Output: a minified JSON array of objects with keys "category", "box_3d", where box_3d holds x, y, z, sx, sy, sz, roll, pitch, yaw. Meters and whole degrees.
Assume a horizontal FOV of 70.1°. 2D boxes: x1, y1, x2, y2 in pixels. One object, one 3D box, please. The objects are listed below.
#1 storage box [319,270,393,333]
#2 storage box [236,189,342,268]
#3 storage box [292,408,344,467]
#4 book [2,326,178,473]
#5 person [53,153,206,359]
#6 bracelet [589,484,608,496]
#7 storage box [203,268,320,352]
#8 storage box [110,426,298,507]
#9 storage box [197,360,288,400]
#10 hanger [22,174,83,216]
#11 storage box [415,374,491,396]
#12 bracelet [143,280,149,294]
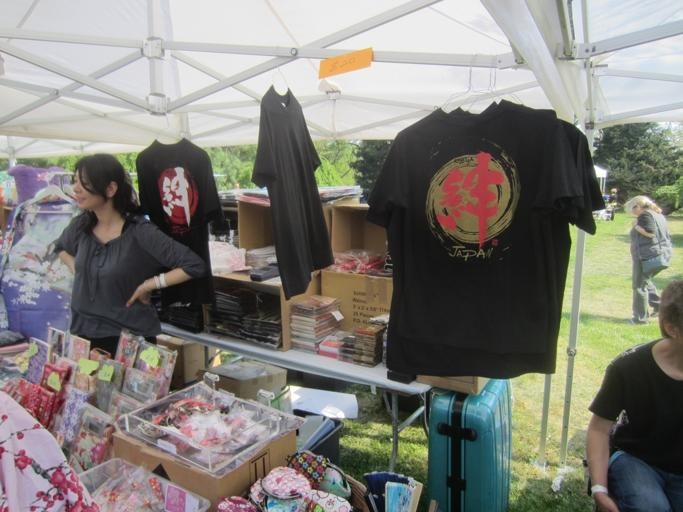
[{"category":"storage box","box_3d":[0.145,0.269,3.853,0.709,0.536,0.396,4,6,23]},{"category":"storage box","box_3d":[-0.463,-0.280,4.180,0.571,0.453,0.826,-2,4,4]},{"category":"storage box","box_3d":[-0.167,1.285,3.285,0.245,0.349,0.556,1,3,22]},{"category":"book","box_3d":[-1.427,0.829,2.799,1.078,0.707,0.286,1,2,15]},{"category":"person","box_3d":[-1.451,0.000,3.310,0.966,1.316,0.468,-1,2,-13]},{"category":"bracelet","box_3d":[1.409,1.279,2.658,0.076,0.053,0.078,-3,-3,16]},{"category":"storage box","box_3d":[-0.675,0.445,3.805,0.858,0.434,0.563,7,16,32]},{"category":"storage box","box_3d":[-0.614,1.068,2.485,0.464,0.158,0.443,10,14,37]},{"category":"storage box","box_3d":[-0.703,0.915,3.545,0.377,0.143,0.409,7,9,30]},{"category":"hanger","box_3d":[-2.395,-0.496,4.031,0.461,0.264,0.640,3,4,14]},{"category":"storage box","box_3d":[0.698,0.816,3.070,0.294,0.083,0.279,2,3,21]},{"category":"bracelet","box_3d":[-1.288,0.205,3.200,0.045,0.081,0.037,-1,2,-24]}]
